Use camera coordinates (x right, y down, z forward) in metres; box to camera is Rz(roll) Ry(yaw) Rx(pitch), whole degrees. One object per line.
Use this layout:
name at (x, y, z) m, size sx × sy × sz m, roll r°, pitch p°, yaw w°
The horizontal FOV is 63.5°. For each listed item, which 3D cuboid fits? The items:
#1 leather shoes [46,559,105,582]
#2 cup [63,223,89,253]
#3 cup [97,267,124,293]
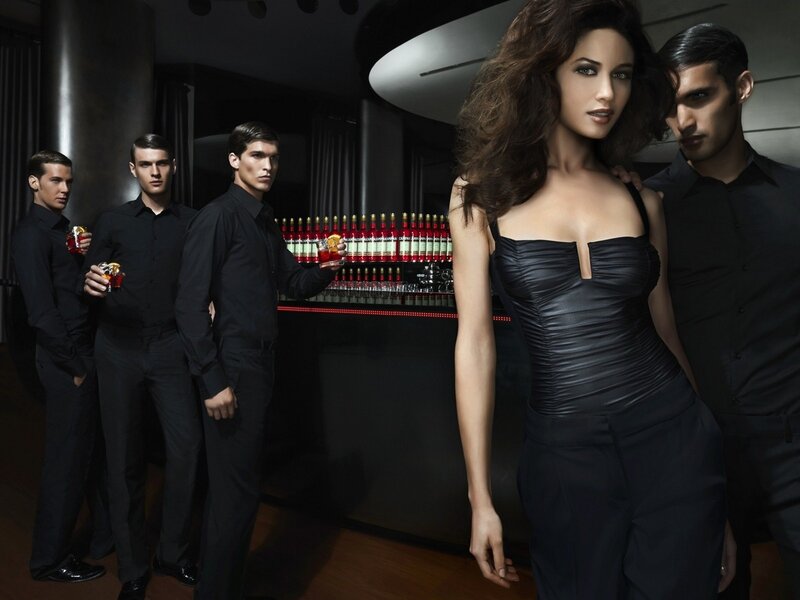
leather shoes at (-1.441, 1.174, 2.838) m, size 0.185 × 0.072 × 0.097 m, roll 0°, pitch 1°, yaw -10°
cup at (-1.618, -0.297, 3.166) m, size 0.112 × 0.184 × 0.112 m, roll 1°, pitch -1°, yaw 0°
cup at (-1.251, -0.099, 2.837) m, size 0.074 × 0.114 × 0.125 m, roll 4°, pitch 10°, yaw 13°
